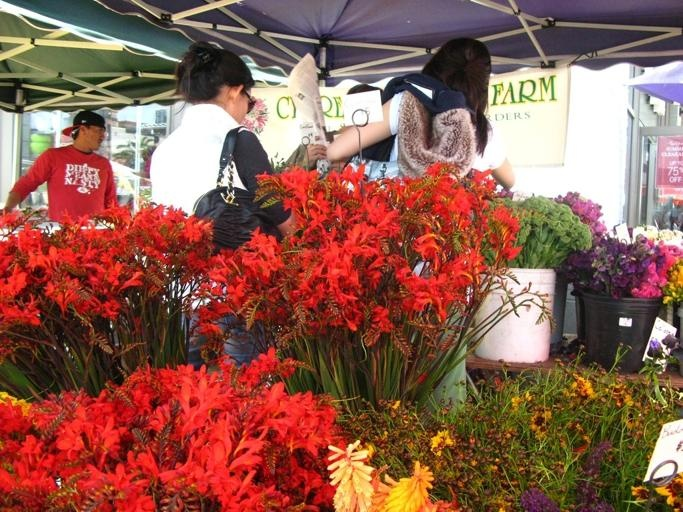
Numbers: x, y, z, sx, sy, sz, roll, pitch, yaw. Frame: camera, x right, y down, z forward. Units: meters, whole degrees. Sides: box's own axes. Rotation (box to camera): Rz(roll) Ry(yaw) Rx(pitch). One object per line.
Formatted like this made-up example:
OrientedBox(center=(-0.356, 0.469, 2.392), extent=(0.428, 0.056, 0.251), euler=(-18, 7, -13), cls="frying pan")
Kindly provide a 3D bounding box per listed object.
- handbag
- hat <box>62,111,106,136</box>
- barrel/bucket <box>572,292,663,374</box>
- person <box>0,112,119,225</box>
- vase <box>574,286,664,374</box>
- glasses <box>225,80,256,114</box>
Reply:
OrientedBox(center=(-0.369, -0.150, 1.924), extent=(0.332, 0.578, 0.424), euler=(3, -6, -19), cls="handbag")
OrientedBox(center=(-1.850, -0.960, 3.836), extent=(0.266, 0.140, 0.185), euler=(2, 3, -15), cls="hat")
OrientedBox(center=(0.965, 0.242, 1.940), extent=(0.346, 0.273, 0.322), euler=(2, -4, 0), cls="barrel/bucket")
OrientedBox(center=(-1.964, -0.649, 3.773), extent=(0.659, 0.792, 0.370), euler=(0, 3, -25), cls="person")
OrientedBox(center=(0.995, 0.259, 2.024), extent=(0.343, 0.273, 0.325), euler=(0, -4, 43), cls="vase")
OrientedBox(center=(-0.357, -0.558, 1.871), extent=(0.030, 0.102, 0.096), euler=(-1, 1, -32), cls="glasses")
